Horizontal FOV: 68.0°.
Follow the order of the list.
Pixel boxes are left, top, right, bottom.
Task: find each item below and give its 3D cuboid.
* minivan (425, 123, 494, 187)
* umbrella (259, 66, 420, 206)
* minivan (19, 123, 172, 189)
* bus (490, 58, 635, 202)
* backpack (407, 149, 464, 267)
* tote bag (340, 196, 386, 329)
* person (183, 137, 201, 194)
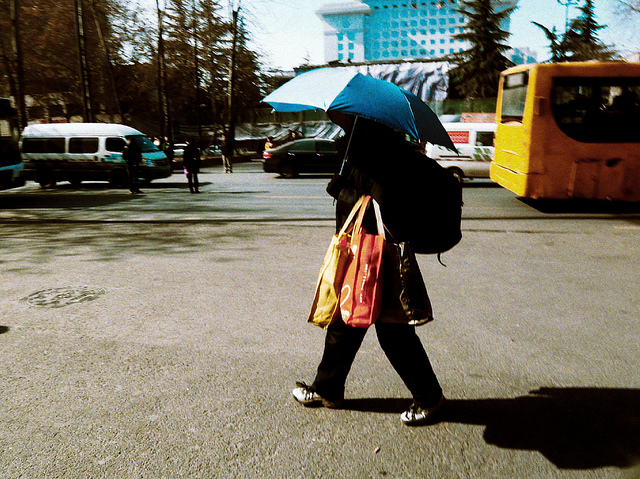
[{"bbox_3d":[5.122,-3.045,17.339,4.115,2.093,2.128,-4,10,-24],"label":"minivan"},{"bbox_3d":[0.108,-0.755,3.180,0.897,0.663,0.848,13,8,0],"label":"umbrella"},{"bbox_3d":[-8.961,-3.431,19.521,5.844,2.230,2.827,0,9,0],"label":"minivan"},{"bbox_3d":[6.039,-2.681,11.604,2.651,3.210,2.549,0,14,2],"label":"bus"},{"bbox_3d":[0.728,-0.190,2.973,0.321,0.714,0.251,3,15,14],"label":"backpack"},{"bbox_3d":[0.271,0.148,2.974,0.248,0.813,0.229,-13,20,-39],"label":"tote bag"},{"bbox_3d":[-4.356,-2.536,16.189,0.491,1.830,1.465,-4,15,-14],"label":"person"}]
